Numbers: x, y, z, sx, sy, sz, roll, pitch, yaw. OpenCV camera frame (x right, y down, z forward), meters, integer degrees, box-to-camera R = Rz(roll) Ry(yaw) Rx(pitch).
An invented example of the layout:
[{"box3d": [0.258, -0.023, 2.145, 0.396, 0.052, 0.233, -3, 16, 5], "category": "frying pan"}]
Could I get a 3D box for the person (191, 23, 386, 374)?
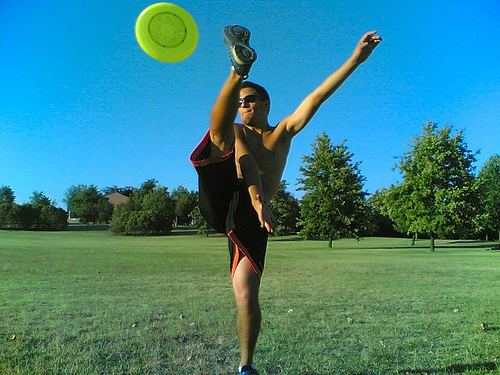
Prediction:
[{"box3d": [0.109, 0.261, 3.253, 1.320, 2.837, 1.105, 4, -7, -18], "category": "person"}]
